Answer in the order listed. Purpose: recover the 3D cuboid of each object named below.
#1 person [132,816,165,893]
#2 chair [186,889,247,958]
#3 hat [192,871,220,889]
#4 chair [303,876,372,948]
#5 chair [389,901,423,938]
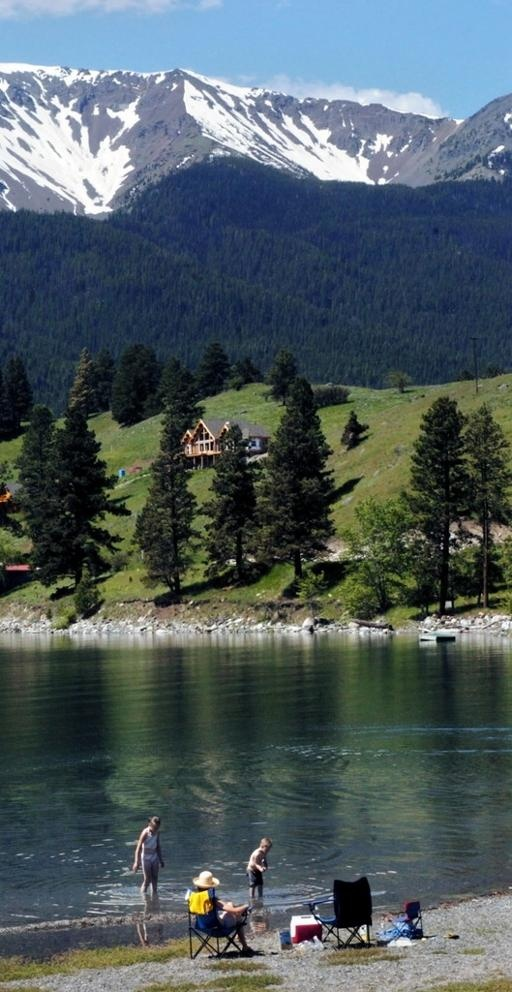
[{"bbox_3d":[-2.748,9.329,42.633,0.619,2.348,0.591,-1,14,-16],"label":"person"},{"bbox_3d":[-1.128,10.071,39.769,1.276,2.163,1.321,-1,-4,-25],"label":"chair"},{"bbox_3d":[-1.211,9.172,39.495,0.504,0.377,0.552,-2,1,41],"label":"hat"},{"bbox_3d":[2.147,9.740,39.178,1.189,1.425,1.665,-3,1,-34],"label":"chair"},{"bbox_3d":[3.640,10.021,39.230,0.600,1.341,0.820,4,-14,-3],"label":"chair"}]
